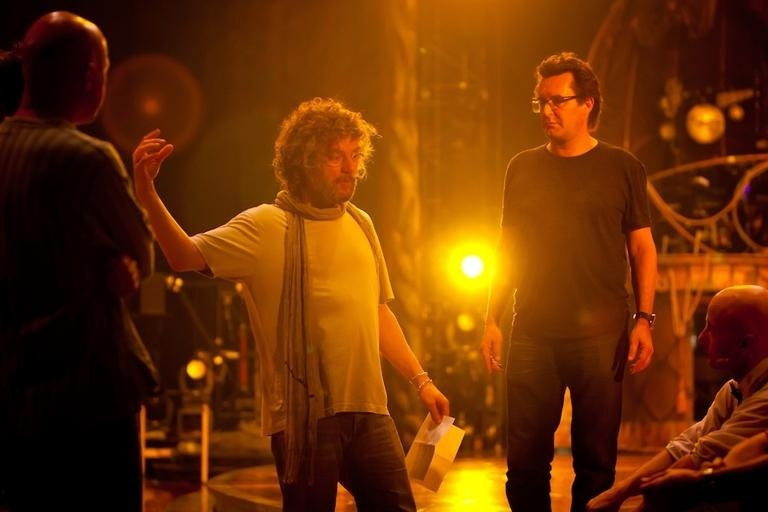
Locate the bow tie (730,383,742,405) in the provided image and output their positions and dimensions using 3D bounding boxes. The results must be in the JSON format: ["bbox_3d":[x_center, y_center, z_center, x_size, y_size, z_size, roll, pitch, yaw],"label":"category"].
[{"bbox_3d":[1.676,0.644,3.950,0.022,0.074,0.038,-24,-5,32],"label":"bow tie"}]

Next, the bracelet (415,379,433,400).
[{"bbox_3d":[0.191,0.661,4.155,0.075,0.033,0.081,-13,-54,-50],"label":"bracelet"}]

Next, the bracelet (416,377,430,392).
[{"bbox_3d":[0.201,0.625,4.158,0.067,0.020,0.067,-33,0,-16],"label":"bracelet"}]
